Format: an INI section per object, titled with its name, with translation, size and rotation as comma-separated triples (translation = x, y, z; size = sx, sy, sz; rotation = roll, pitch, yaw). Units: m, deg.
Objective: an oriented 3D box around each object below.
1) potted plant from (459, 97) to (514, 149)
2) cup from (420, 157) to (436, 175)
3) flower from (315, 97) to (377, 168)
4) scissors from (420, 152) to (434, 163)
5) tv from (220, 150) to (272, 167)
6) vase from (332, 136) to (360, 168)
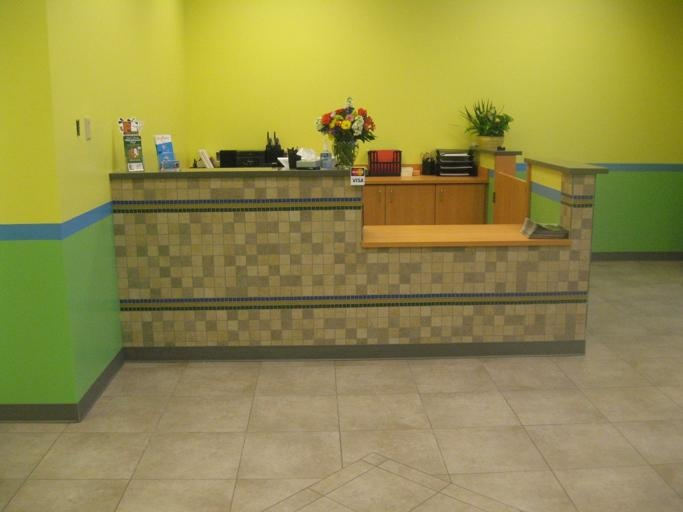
[potted plant]
translation = 1.908, -1.689, 7.504
size = 0.658, 0.610, 0.671
rotation = 1, 8, 18
[cup]
translation = 1.155, -1.189, 7.630
size = 0.213, 0.300, 0.221
rotation = 2, 1, 0
[flower]
translation = 0.037, -1.113, 5.111
size = 0.504, 0.600, 0.397
rotation = -1, 13, -2
[scissors]
translation = 1.143, -1.336, 7.630
size = 0.103, 0.129, 0.147
rotation = -1, 6, 2
[tv]
translation = -1.114, -1.154, 6.707
size = 0.483, 0.185, 0.717
rotation = -11, 16, -38
[vase]
translation = 0.055, -0.926, 5.134
size = 0.290, 0.320, 0.291
rotation = -2, 9, -14
